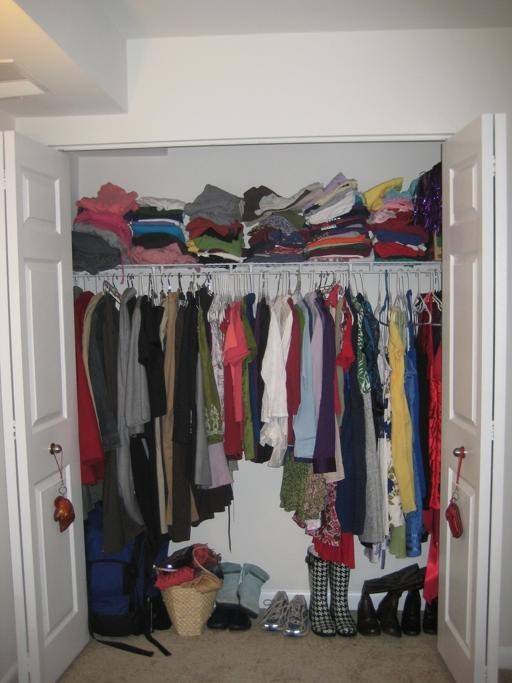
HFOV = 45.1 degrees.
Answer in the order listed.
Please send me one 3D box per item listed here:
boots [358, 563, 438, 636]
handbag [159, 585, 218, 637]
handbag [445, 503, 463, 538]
[{"bbox_3d":[0.632,1.189,2.806,0.141,0.248,0.520,0,-23,-6],"label":"boots"},{"bbox_3d":[-0.304,1.139,2.723,0.205,0.271,0.219,1,-7,-6],"label":"handbag"},{"bbox_3d":[0.699,0.629,2.202,0.030,0.124,0.062,-10,-11,15],"label":"handbag"}]
